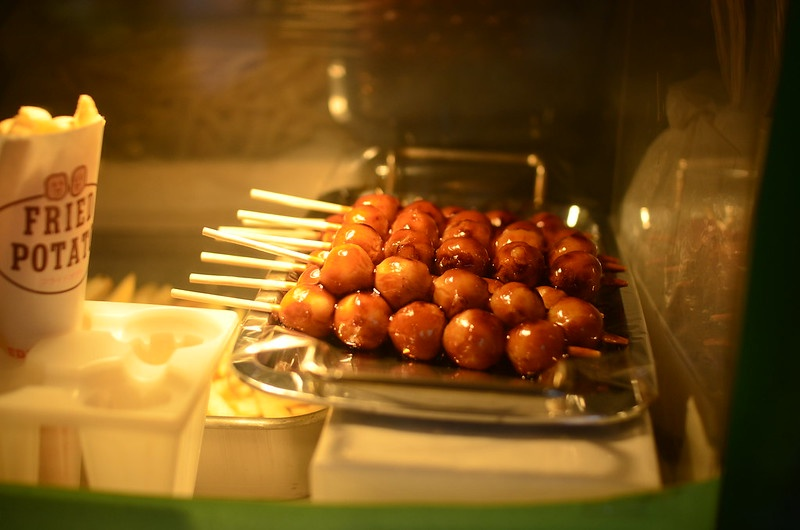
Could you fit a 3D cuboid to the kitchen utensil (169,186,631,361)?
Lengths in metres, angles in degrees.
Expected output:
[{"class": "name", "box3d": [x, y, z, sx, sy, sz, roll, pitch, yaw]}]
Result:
[{"class": "kitchen utensil", "box3d": [0.021, 0.033, 1.190, 0.671, 0.131, 0.375, 10, 31, 9]}]
